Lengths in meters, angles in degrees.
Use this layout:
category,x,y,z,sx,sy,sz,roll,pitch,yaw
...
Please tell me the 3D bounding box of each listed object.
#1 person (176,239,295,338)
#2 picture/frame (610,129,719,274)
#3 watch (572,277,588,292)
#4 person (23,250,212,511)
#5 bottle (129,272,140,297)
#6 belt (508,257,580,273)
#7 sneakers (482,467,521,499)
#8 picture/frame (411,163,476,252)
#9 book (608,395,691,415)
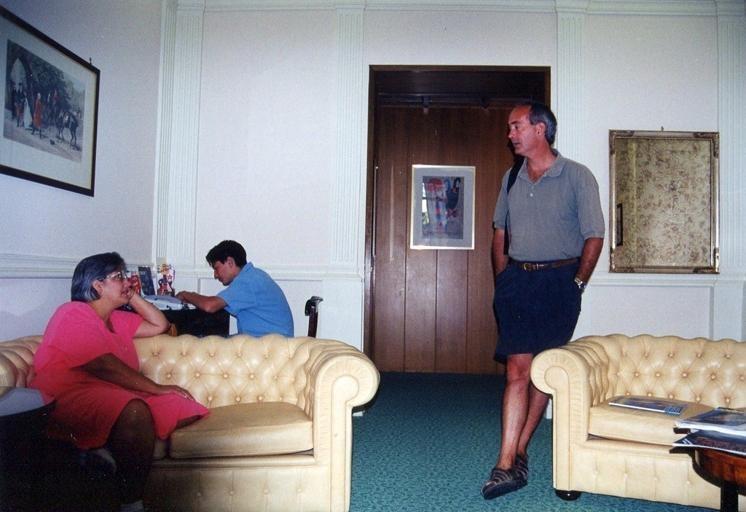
category,x,y,z,sx,sy,sz,roll,pitch,yaw
person,-0.962,0.470,4.271,0.741,1.167,0.581,-5,4,-9
picture/frame,2.518,-0.410,5.026,1.074,1.553,0.109,0,-1,3
watch,1.309,0.182,3.710,0.092,0.065,0.024,42,8,-6
person,-1.418,0.671,3.206,0.548,1.342,0.724,3,5,43
bottle,-1.554,0.189,3.816,0.049,0.150,0.151,-4,8,-11
belt,1.091,0.052,3.748,0.422,0.081,0.083,1,4,22
sneakers,0.767,1.338,3.538,0.257,0.127,0.127,1,-35,-33
picture/frame,0.759,-0.468,6.270,0.805,1.122,0.043,1,-5,0
book,1.682,0.860,3.556,0.385,0.044,0.296,1,2,35
